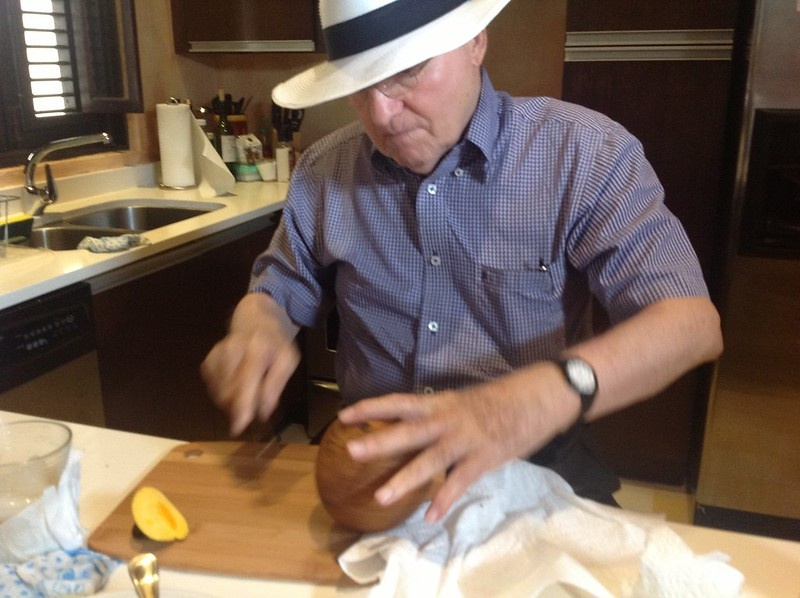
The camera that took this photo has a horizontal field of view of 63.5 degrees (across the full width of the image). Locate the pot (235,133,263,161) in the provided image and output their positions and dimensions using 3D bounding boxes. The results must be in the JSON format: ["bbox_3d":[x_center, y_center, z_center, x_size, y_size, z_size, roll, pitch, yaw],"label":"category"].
[{"bbox_3d":[-0.718,-0.722,3.075,0.076,0.100,0.147,0,18,19],"label":"pot"}]

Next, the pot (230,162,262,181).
[{"bbox_3d":[-0.742,-0.621,3.074,0.088,0.061,0.122,-6,20,-15],"label":"pot"}]

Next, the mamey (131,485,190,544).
[{"bbox_3d":[-0.392,0.354,1.048,0.089,0.024,0.069,40,27,4],"label":"mamey"}]

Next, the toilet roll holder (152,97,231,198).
[{"bbox_3d":[-0.881,-0.625,2.929,0.337,0.336,0.234,1,16,-17],"label":"toilet roll holder"}]

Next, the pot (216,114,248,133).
[{"bbox_3d":[-0.812,-0.865,3.148,0.104,0.116,0.108,-2,21,1],"label":"pot"}]

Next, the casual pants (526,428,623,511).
[{"bbox_3d":[0.391,0.408,1.480,0.172,0.066,0.172,-38,74,-24],"label":"casual pants"}]

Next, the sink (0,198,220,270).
[{"bbox_3d":[-1.061,-0.291,2.498,0.389,0.145,0.684,14,24,33],"label":"sink"}]

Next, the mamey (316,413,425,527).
[{"bbox_3d":[-0.052,0.282,1.032,0.151,0.115,0.171,8,-26,-6],"label":"mamey"}]
